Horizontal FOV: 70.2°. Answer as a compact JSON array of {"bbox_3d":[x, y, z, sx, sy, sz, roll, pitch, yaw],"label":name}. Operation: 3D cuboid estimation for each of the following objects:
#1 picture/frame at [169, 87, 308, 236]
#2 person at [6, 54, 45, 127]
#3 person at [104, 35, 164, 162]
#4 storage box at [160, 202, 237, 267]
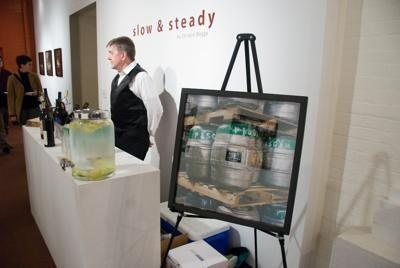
[{"bbox_3d":[0.328,0.195,2.226,1.230,1.221,0.094,13,4,14],"label":"picture/frame"},{"bbox_3d":[-3.653,-0.900,5.909,0.598,1.404,0.343,-4,14,-27],"label":"person"},{"bbox_3d":[-0.853,-0.418,3.551,0.754,1.520,0.310,11,15,34],"label":"person"},{"bbox_3d":[-0.050,0.787,2.854,0.549,0.384,0.810,-4,10,-36],"label":"storage box"}]
